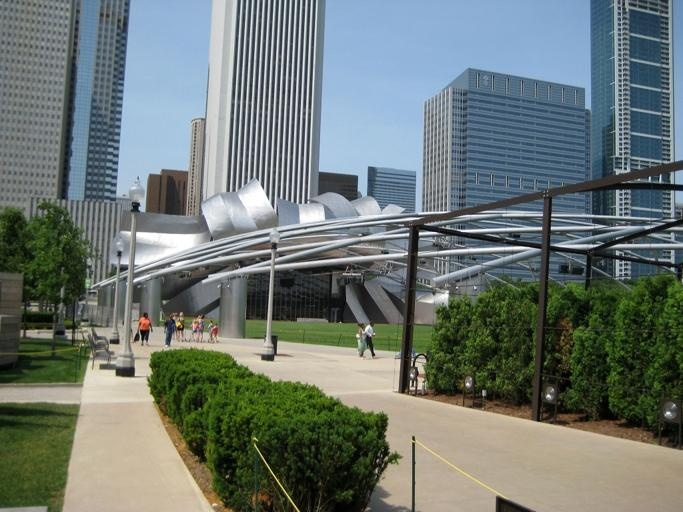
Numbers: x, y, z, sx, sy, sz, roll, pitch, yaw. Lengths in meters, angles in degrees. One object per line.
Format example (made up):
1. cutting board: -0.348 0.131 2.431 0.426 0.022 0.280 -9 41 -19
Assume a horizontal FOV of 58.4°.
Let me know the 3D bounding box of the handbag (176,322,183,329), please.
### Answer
1. handbag: -8.863 3.879 33.478 0.401 0.449 0.207 -11 -12 27

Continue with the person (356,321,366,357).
1. person: 0.917 3.788 26.960 0.329 1.444 0.732 1 -4 1

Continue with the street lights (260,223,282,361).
1. street lights: -2.772 1.570 24.397 0.930 5.195 0.974 4 -7 -16
